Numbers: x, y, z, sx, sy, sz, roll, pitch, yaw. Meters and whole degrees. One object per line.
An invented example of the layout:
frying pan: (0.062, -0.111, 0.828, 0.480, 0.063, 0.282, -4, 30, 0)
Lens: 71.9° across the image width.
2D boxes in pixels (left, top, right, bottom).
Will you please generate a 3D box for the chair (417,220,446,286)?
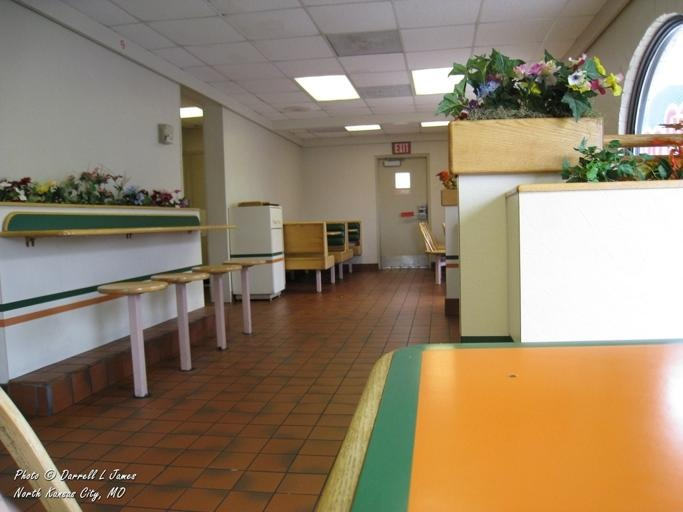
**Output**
chair: (1.906, -0.065, 9.961, 0.443, 0.675, 1.304, -2, 11, 7)

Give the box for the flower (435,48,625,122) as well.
flower: (1.006, -0.918, 2.577, 0.854, 0.282, 0.941, -13, 27, -16)
